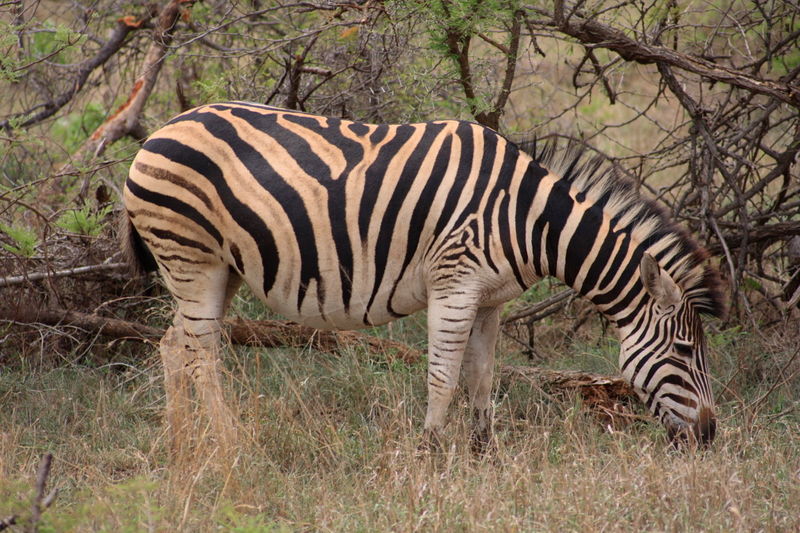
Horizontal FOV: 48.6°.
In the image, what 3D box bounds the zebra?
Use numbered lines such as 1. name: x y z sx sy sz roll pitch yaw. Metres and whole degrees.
1. zebra: 0.096 0.163 6.885 4.755 2.533 1.438 5 3 9
